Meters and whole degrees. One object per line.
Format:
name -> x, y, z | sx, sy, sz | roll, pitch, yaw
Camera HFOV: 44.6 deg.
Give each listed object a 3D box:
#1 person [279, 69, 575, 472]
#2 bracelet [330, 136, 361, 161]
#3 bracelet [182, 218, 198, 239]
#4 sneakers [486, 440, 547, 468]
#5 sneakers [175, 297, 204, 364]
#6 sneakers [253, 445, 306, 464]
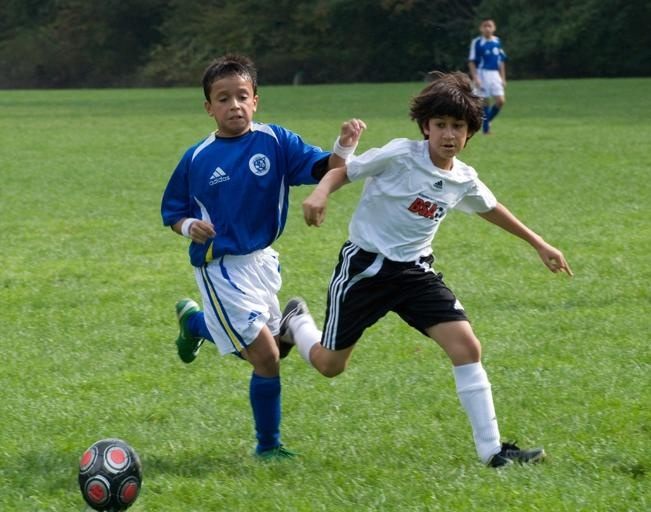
person -> 0.373, 0.020, 3.454 | 1.262, 1.555, 0.711 | 5, 19, 14
bracelet -> 0.076, -0.478, 3.491 | 0.121, 0.107, 0.105 | 2, 51, -9
bracelet -> -0.590, -0.118, 3.402 | 0.066, 0.094, 0.143 | -3, 18, -10
sneakers -> 0.786, 0.817, 3.352 | 0.281, 0.101, 0.088 | -9, 7, -4
sneakers -> -0.673, 0.388, 4.071 | 0.136, 0.333, 0.159 | -12, 28, -27
sneakers -> -0.211, 0.842, 3.386 | 0.199, 0.063, 0.060 | -1, 6, -3
